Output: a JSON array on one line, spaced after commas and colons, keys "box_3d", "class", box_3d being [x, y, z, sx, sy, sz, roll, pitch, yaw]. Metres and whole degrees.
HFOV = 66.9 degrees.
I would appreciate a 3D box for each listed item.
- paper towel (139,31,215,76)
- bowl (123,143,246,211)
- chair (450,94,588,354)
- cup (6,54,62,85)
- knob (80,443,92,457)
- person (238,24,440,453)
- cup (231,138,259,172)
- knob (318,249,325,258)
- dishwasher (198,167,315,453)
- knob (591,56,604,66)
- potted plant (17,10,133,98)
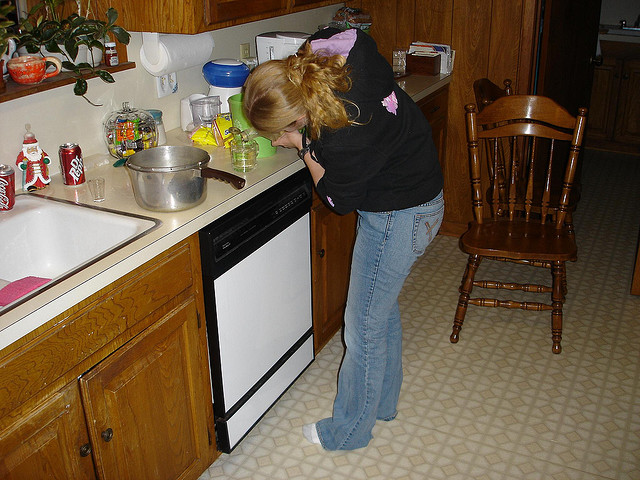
[{"box_3d": [-0.636, -0.850, 2.219, 0.161, 0.175, 0.343, 22, 34, 40], "class": "paper towel"}, {"box_3d": [-0.493, -0.216, 1.689, 0.387, 0.149, 0.259, 17, 33, 12], "class": "bowl"}, {"box_3d": [0.947, -0.097, 2.845, 0.770, 1.712, 0.891, 9, 28, 19], "class": "chair"}, {"box_3d": [-1.036, -0.608, 1.768, 0.166, 0.090, 0.113, -9, 36, -34], "class": "cup"}, {"box_3d": [-0.671, 0.600, 1.390, 0.008, 0.029, 0.029, 0, 61, 27], "class": "knob"}, {"box_3d": [0.106, 0.058, 1.946, 0.671, 1.590, 0.491, -8, 26, -3], "class": "person"}, {"box_3d": [-0.304, -0.341, 1.997, 0.117, 0.120, 0.124, 1, 33, -1], "class": "cup"}, {"box_3d": [0.004, 0.066, 2.311, 0.033, 0.035, 0.008, -1, 7, -40], "class": "knob"}, {"box_3d": [-0.420, 0.231, 2.171, 0.576, 1.022, 0.759, 12, 29, 21], "class": "dishwasher"}, {"box_3d": [2.317, -1.500, 4.062, 0.074, 0.072, 0.284, 15, 31, 31], "class": "knob"}, {"box_3d": [-0.925, -0.678, 1.920, 0.385, 0.172, 0.382, 27, 45, 12], "class": "potted plant"}]
